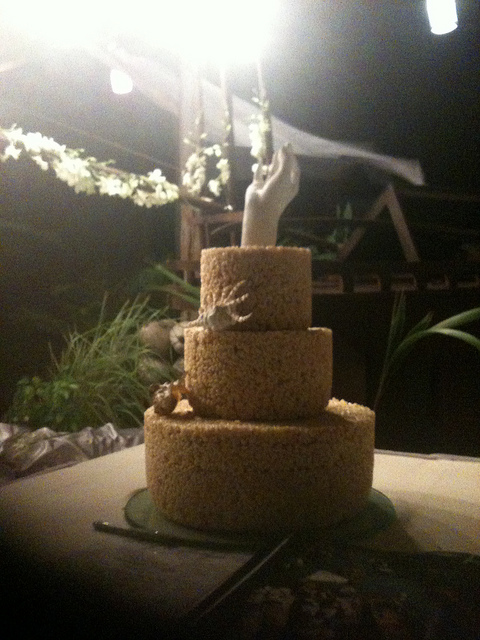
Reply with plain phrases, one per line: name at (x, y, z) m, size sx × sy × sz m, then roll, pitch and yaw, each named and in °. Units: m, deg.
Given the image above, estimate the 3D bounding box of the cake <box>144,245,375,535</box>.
cake at (0.083, 0.200, 1.795) m, size 0.796 × 0.802 × 0.789 m, roll 0°, pitch 2°, yaw 28°
